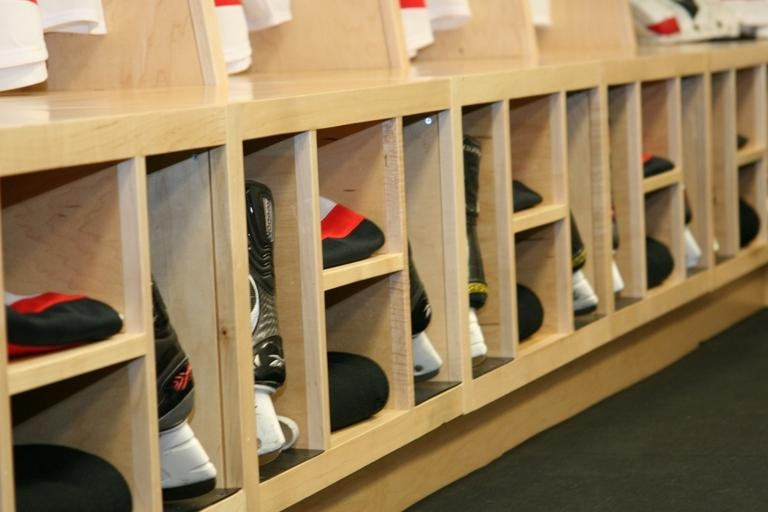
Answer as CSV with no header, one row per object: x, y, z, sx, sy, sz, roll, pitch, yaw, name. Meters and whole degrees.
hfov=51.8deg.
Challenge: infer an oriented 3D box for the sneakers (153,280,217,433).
-0.301,0.143,1.116,0.051,0.204,0.075,-5,13,-10,sneakers
